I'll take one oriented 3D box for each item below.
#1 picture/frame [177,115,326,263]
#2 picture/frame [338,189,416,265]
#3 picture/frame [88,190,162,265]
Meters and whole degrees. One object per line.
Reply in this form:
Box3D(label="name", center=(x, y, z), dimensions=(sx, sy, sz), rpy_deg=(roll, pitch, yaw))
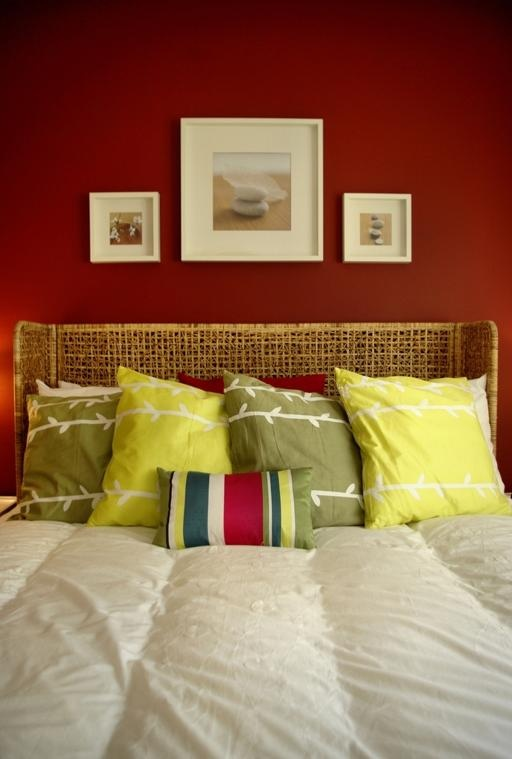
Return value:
Box3D(label="picture/frame", center=(-0.033, -0.785, 2.396), dimensions=(0.552, 0.565, 0.039), rpy_deg=(0, 4, -1))
Box3D(label="picture/frame", center=(0.486, -0.627, 2.414), dimensions=(0.281, 0.292, 0.029), rpy_deg=(0, 4, -2))
Box3D(label="picture/frame", center=(-0.533, -0.629, 2.407), dimensions=(0.277, 0.287, 0.021), rpy_deg=(0, 6, 1))
